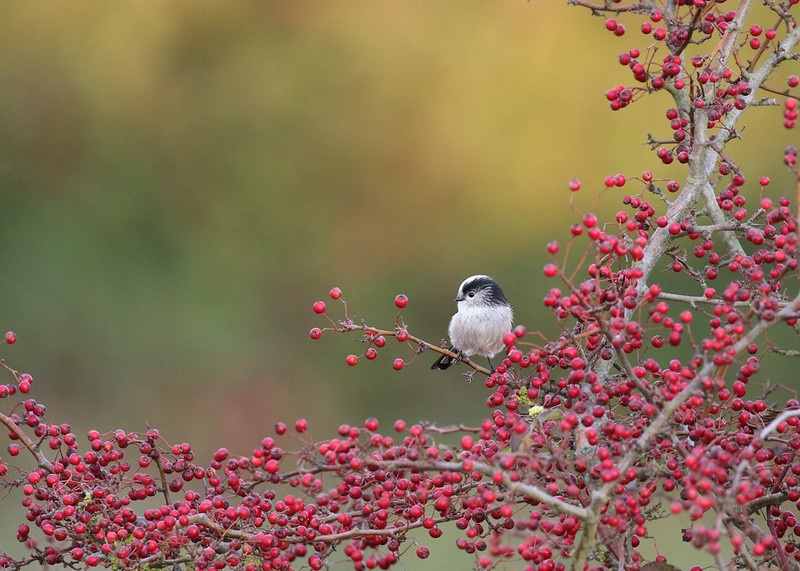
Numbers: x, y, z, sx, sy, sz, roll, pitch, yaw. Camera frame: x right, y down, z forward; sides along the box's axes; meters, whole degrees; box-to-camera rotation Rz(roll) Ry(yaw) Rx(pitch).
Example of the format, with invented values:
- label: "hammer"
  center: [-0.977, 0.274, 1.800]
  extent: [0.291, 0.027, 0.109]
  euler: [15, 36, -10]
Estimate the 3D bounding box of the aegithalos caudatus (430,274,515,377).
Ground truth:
- label: "aegithalos caudatus"
  center: [0.517, 0.274, 7.438]
  extent: [0.385, 0.635, 0.802]
  euler: [7, -25, -6]
